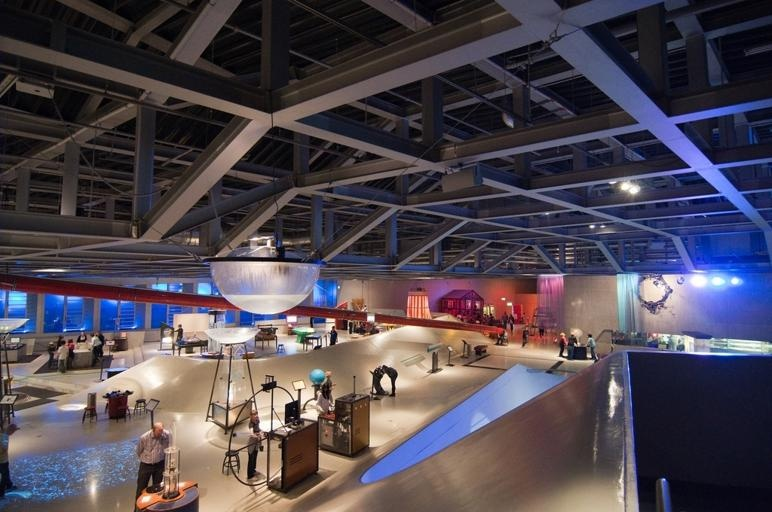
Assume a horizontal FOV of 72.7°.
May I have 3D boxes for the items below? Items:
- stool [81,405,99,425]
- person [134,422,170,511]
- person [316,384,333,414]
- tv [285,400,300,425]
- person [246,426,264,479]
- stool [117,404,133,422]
[{"bbox_3d":[-9.594,5.173,17.059,0.568,0.790,0.512,10,-17,-35],"label":"stool"},{"bbox_3d":[-5.383,4.719,12.212,0.679,1.602,0.527,1,-5,-23],"label":"person"},{"bbox_3d":[-1.811,4.270,15.713,0.451,0.832,0.730,0,-5,-6],"label":"person"},{"bbox_3d":[-2.536,4.306,14.326,0.061,0.462,0.688,-5,-5,21],"label":"tv"},{"bbox_3d":[-3.422,5.133,13.759,0.363,1.294,0.693,0,-5,-13],"label":"person"},{"bbox_3d":[-8.469,5.127,17.155,0.394,0.577,0.375,-5,-8,23],"label":"stool"}]
